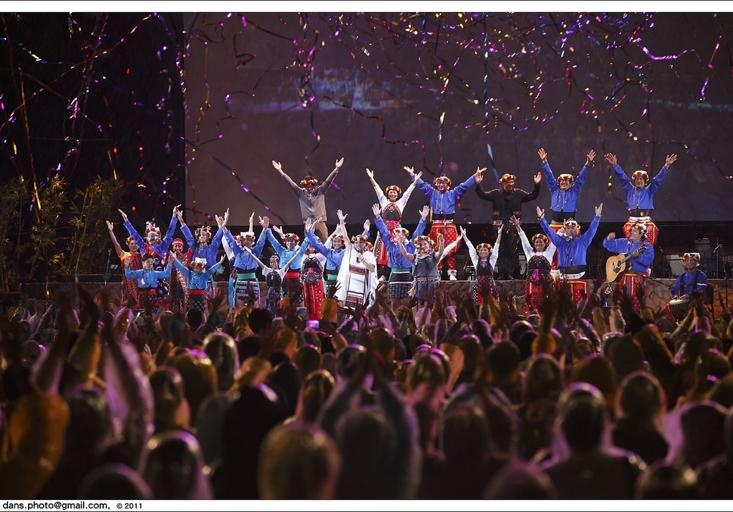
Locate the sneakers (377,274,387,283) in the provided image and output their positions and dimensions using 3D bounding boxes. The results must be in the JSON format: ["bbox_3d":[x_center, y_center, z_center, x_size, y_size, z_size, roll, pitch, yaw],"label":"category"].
[{"bbox_3d":[0.163,0.229,6.599,0.076,0.104,0.238,-4,-2,-1],"label":"sneakers"}]

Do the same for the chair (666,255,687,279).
[{"bbox_3d":[2.990,0.118,6.413,0.155,0.273,0.153,-12,-21,31],"label":"chair"}]

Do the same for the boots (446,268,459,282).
[{"bbox_3d":[0.882,0.198,6.736,0.090,0.105,0.261,-1,-10,7],"label":"boots"}]

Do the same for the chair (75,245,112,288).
[{"bbox_3d":[-2.975,0.128,7.262,0.356,0.657,0.354,5,6,-9],"label":"chair"}]
